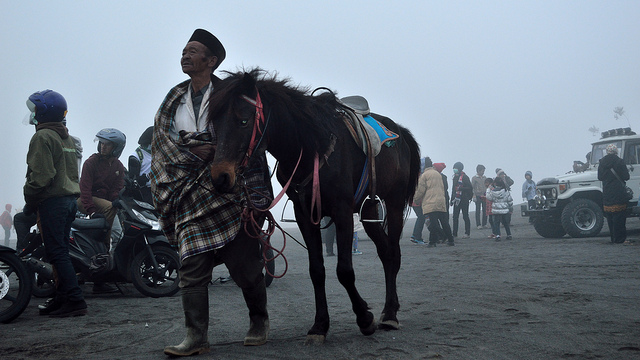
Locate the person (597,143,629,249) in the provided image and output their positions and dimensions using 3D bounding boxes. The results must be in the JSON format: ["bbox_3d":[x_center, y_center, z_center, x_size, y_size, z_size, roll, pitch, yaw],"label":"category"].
[{"bbox_3d":[8.739,0.425,13.360,0.756,2.960,0.712,-4,-7,6],"label":"person"}]

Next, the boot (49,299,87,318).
[{"bbox_3d":[-3.946,2.060,7.144,0.578,0.254,0.210,2,-4,-18],"label":"boot"}]

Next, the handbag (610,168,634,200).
[{"bbox_3d":[8.988,0.163,13.477,0.322,0.902,0.529,-35,9,-3],"label":"handbag"}]

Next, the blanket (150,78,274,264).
[{"bbox_3d":[-1.454,-0.141,5.645,1.273,2.297,0.540,-4,-7,8],"label":"blanket"}]

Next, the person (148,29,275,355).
[{"bbox_3d":[-1.370,0.121,5.623,1.368,4.037,0.657,-1,-7,-21],"label":"person"}]

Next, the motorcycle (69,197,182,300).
[{"bbox_3d":[-4.087,1.185,8.908,3.303,1.961,1.148,-4,-13,27],"label":"motorcycle"}]

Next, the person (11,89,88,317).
[{"bbox_3d":[-4.321,0.341,7.356,0.839,3.741,0.464,1,-8,-32],"label":"person"}]
